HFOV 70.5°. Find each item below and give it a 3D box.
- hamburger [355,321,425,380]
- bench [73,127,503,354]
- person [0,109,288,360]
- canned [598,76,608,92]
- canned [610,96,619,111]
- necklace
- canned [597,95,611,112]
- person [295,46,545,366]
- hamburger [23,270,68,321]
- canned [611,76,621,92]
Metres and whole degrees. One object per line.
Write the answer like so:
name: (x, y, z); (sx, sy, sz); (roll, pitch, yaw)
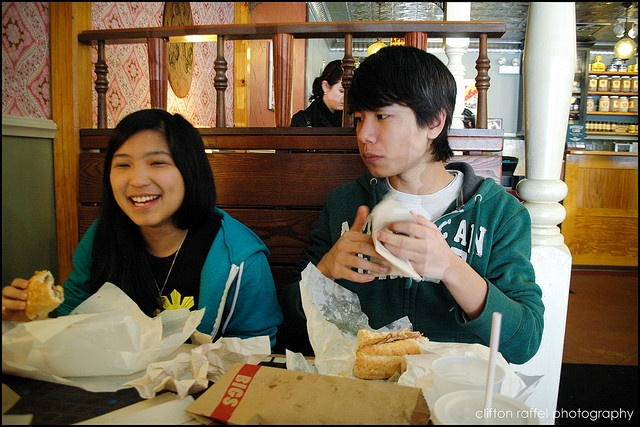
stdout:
hamburger: (0.157, 0.345, 1.106); (0.170, 0.091, 0.064); (-7, -8, -9)
bench: (-0.192, -0.101, 2.962); (2.272, 0.732, 1.384); (0, 7, 4)
person: (-0.431, 0.085, 1.722); (0.903, 1.091, 0.774); (-2, -1, 5)
canned: (3.821, -1.731, 6.094); (0.113, 0.217, 0.128); (1, 12, 26)
canned: (3.883, -1.429, 5.956); (0.097, 0.211, 0.169); (2, 12, 28)
necklace: (-0.511, 0.184, 1.504); (0.088, 0.192, 0.015); (17, -5, 8)
canned: (3.787, -1.444, 6.023); (0.125, 0.215, 0.189); (2, 12, 27)
person: (0.287, -0.034, 1.500); (0.705, 1.000, 0.737); (-12, 13, -37)
hamburger: (-0.717, 0.215, 1.171); (0.091, 0.131, 0.069); (-11, 13, -33)
canned: (3.916, -1.690, 5.961); (0.084, 0.199, 0.155); (-6, 11, -10)
